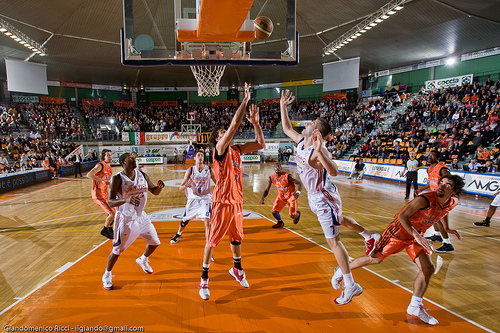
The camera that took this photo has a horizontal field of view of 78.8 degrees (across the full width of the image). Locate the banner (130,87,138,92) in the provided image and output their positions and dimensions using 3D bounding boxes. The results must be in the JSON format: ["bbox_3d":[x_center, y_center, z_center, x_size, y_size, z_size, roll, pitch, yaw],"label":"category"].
[{"bbox_3d":[-12.952,-8.567,33.906,0.781,0.511,0.460,-5,12,-25],"label":"banner"}]

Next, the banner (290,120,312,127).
[{"bbox_3d":[4.463,-4.025,28.835,1.492,0.525,0.576,8,13,39],"label":"banner"}]

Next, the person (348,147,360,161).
[{"bbox_3d":[7.066,-0.835,20.679,0.977,1.106,0.831,-2,1,2],"label":"person"}]

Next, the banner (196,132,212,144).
[{"bbox_3d":[-3.842,-2.232,24.545,0.751,0.934,1.196,7,13,33],"label":"banner"}]

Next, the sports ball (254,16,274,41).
[{"bbox_3d":[0.317,-3.774,8.203,0.373,0.579,0.580,7,13,34],"label":"sports ball"}]

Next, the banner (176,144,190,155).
[{"bbox_3d":[-6.173,-1.606,27.841,1.134,1.106,0.264,0,6,-1],"label":"banner"}]

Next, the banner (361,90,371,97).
[{"bbox_3d":[10.756,-6.799,28.411,0.498,0.606,0.879,2,-2,-13],"label":"banner"}]

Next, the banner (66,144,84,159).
[{"bbox_3d":[-13.141,-0.989,23.093,0.451,0.985,4.819,-5,11,-21],"label":"banner"}]

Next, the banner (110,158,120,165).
[{"bbox_3d":[-11.417,-0.403,25.717,0.627,0.512,0.614,-6,12,-26],"label":"banner"}]

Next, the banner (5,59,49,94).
[{"bbox_3d":[-14.884,-6.073,20.361,0.204,2.619,3.046,4,6,31],"label":"banner"}]

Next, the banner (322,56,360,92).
[{"bbox_3d":[6.211,-6.534,21.136,3.168,2.787,0.256,2,1,35],"label":"banner"}]

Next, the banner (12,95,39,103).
[{"bbox_3d":[-20.674,-6.207,28.093,1.963,0.633,0.378,-8,13,-37],"label":"banner"}]

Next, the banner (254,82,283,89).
[{"bbox_3d":[1.976,-9.033,33.256,3.247,0.694,0.451,0,6,9],"label":"banner"}]

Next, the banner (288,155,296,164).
[{"bbox_3d":[3.577,-0.625,26.487,0.723,0.555,0.737,0,7,-6],"label":"banner"}]

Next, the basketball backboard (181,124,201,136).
[{"bbox_3d":[-5.065,-3.087,25.899,1.256,0.830,0.644,3,5,42],"label":"basketball backboard"}]

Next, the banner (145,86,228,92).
[{"bbox_3d":[-7.195,-8.762,34.434,9.388,0.622,0.497,0,11,-1],"label":"banner"}]

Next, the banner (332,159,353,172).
[{"bbox_3d":[5.926,-0.080,19.509,0.358,0.613,1.606,-4,11,-16],"label":"banner"}]
